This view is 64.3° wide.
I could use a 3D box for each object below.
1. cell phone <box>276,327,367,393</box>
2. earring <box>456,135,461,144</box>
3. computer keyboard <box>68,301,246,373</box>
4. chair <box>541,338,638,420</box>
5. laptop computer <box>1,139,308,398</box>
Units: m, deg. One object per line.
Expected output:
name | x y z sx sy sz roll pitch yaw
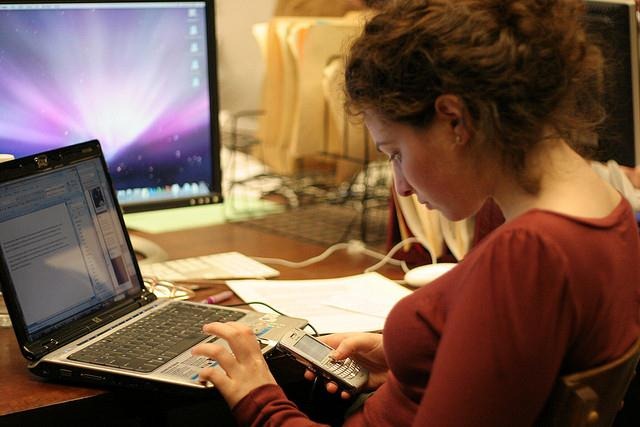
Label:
cell phone | -0.012 0.309 1.034 0.183 0.028 0.103 32 26 5
earring | 0.232 -0.126 0.855 0.014 0.012 0.003 -2 -6 31
computer keyboard | -0.322 0.246 1.044 0.165 0.024 0.314 7 19 32
chair | 0.414 0.254 0.797 0.129 0.152 0.110 -3 40 5
laptop computer | -0.384 0.088 1.091 0.593 0.396 0.499 7 16 15
